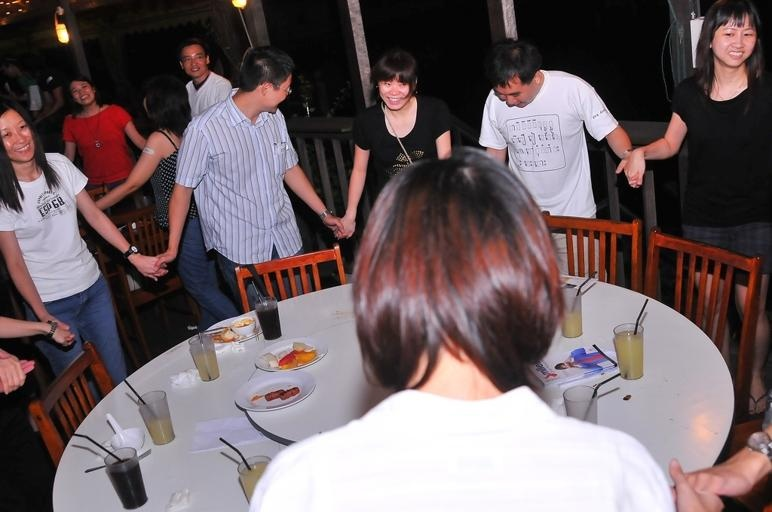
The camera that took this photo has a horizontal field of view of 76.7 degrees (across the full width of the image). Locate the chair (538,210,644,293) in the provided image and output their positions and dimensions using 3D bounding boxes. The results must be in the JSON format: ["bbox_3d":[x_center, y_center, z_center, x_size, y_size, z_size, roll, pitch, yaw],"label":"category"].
[{"bbox_3d":[0.992,-0.023,2.325,0.309,0.551,0.336,13,47,39],"label":"chair"}]

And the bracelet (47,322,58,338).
[{"bbox_3d":[-1.694,0.374,2.479,0.062,0.069,0.046,-23,-26,31],"label":"bracelet"}]

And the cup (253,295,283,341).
[{"bbox_3d":[-0.542,0.295,2.232,0.127,0.209,0.128,-12,13,3],"label":"cup"}]

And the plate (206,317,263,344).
[{"bbox_3d":[-0.705,0.353,2.283,0.142,0.048,0.141,-9,15,-25],"label":"plate"}]

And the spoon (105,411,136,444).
[{"bbox_3d":[-0.941,0.593,1.746,0.021,0.129,0.080,-19,-12,-37],"label":"spoon"}]

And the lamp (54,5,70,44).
[{"bbox_3d":[-4.074,-2.862,6.119,0.154,0.433,0.294,-22,29,-28],"label":"lamp"}]

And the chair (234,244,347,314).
[{"bbox_3d":[-0.591,0.139,2.877,0.313,0.548,0.330,-18,18,-27],"label":"chair"}]

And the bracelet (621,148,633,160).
[{"bbox_3d":[1.343,-0.565,2.739,0.064,0.016,0.062,-41,-14,-34],"label":"bracelet"}]

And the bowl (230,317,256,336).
[{"bbox_3d":[-0.668,0.330,2.304,0.080,0.052,0.083,-1,0,0],"label":"bowl"}]

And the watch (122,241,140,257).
[{"bbox_3d":[-1.629,-0.037,3.103,0.070,0.051,0.077,-40,2,23],"label":"watch"}]
